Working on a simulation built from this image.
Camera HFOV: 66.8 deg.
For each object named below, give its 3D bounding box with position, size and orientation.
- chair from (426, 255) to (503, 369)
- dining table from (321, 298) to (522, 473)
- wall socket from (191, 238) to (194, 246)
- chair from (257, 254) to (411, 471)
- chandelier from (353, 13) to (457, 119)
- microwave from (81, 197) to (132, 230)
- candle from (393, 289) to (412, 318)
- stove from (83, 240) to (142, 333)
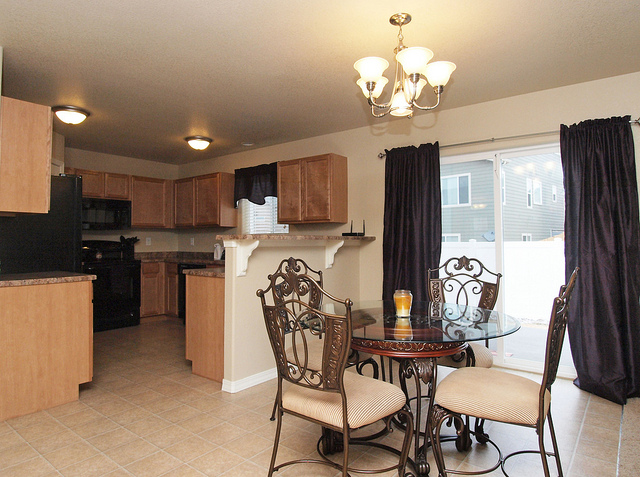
[{"bbox_3d":[1.360,0.534,4.614,0.672,1.280,0.645,-1,-1,34],"label":"chair"},{"bbox_3d":[0.686,0.883,3.812,1.462,0.867,1.328,2,-2,-44],"label":"dining table"},{"bbox_3d":[-2.139,0.057,8.200,0.061,0.098,0.013,-2,1,26],"label":"wall socket"},{"bbox_3d":[0.067,0.923,3.879,1.078,1.394,1.636,-2,11,-8],"label":"chair"},{"bbox_3d":[0.672,-1.425,3.969,0.849,0.753,0.783,-1,-3,22],"label":"chandelier"},{"bbox_3d":[-3.126,-0.347,7.123,0.434,0.557,0.829,0,-2,31],"label":"microwave"},{"bbox_3d":[0.646,0.502,3.775,0.180,0.262,0.187,-1,0,13],"label":"candle"},{"bbox_3d":[-3.053,0.663,7.065,0.705,1.279,0.803,-7,-5,33],"label":"stove"}]
